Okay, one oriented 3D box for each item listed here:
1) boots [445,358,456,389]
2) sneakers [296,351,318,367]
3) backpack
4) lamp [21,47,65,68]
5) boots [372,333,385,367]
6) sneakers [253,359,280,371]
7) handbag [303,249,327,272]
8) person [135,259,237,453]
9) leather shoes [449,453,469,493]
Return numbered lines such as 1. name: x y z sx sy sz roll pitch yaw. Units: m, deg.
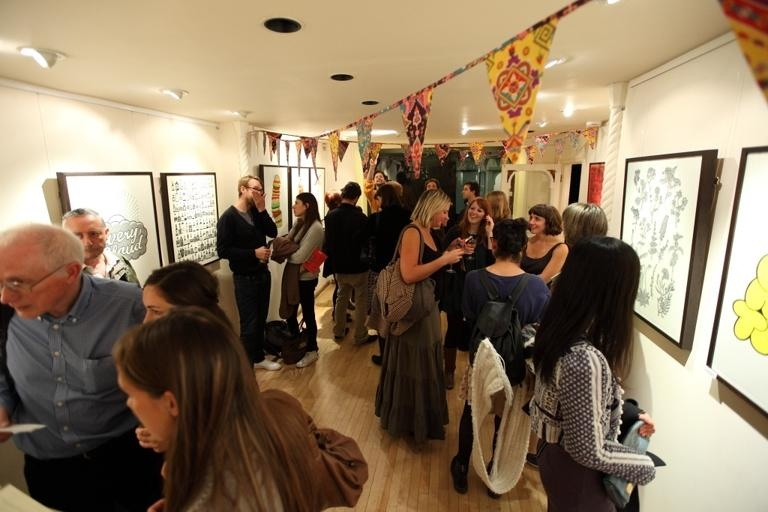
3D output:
1. boots: 0.571 1.004 4.191 0.076 0.242 0.165 0 -32 11
2. sneakers: -0.712 0.977 4.658 0.081 0.097 0.229 5 9 34
3. backpack: 0.707 0.435 3.032 0.339 0.646 0.338 1 10 15
4. lamp: -1.871 -1.110 2.693 0.113 0.045 0.117 0 1 39
5. boots: -0.043 0.866 4.455 0.174 0.111 0.449 -2 -35 -8
6. sneakers: -1.085 1.008 4.597 0.233 0.102 0.100 -2 10 11
7. handbag: -0.643 0.026 4.529 0.063 0.199 0.194 19 -21 47
8. person: -0.846 0.446 2.081 0.388 0.327 0.956 -20 -26 -32
9. leather shoes: 0.500 1.454 3.258 0.089 0.179 0.244 1 14 2
